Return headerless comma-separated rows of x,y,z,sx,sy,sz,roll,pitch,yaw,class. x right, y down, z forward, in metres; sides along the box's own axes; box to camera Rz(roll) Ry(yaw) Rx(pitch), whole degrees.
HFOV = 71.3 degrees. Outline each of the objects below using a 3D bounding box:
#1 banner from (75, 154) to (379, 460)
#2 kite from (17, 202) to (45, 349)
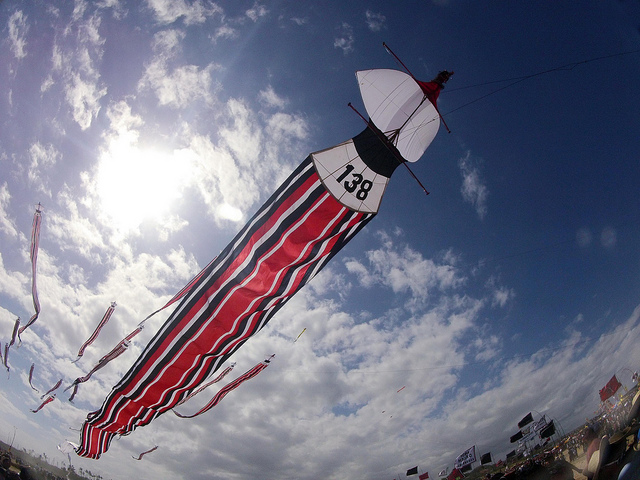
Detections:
-2.586,1.473,16.349,3.215,1.864,13.360,39,-87,-3,banner
-12.242,1.111,19.115,0.755,6.435,0.613,5,-36,-32,kite
